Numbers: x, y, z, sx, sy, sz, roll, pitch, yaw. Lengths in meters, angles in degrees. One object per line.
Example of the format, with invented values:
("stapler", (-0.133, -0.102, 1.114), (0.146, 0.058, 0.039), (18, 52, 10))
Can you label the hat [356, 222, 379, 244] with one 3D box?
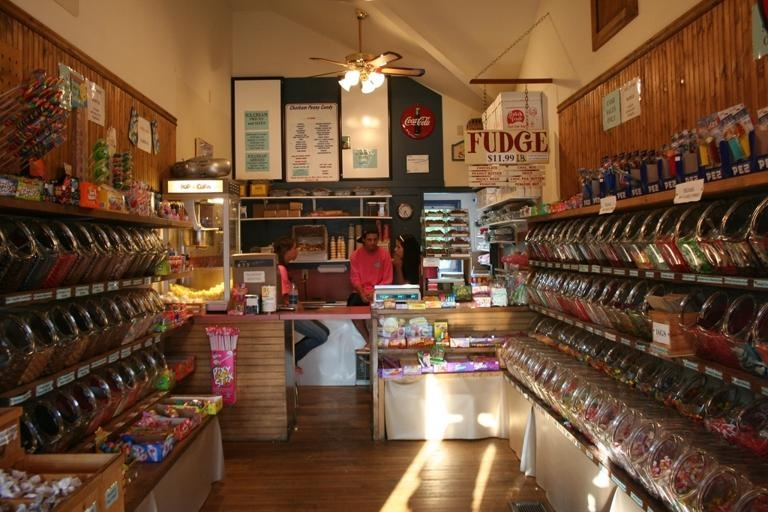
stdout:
("hat", (-0.200, -0.297, 7.266), (0.243, 0.199, 0.368), (0, -4, -12))

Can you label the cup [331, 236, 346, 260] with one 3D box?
("cup", (-0.694, -0.102, 8.234), (0.317, 0.474, 0.174), (1, -6, -7))

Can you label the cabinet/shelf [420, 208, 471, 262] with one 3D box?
("cabinet/shelf", (0.987, -0.351, 8.250), (0.727, 0.756, 0.258), (1, 10, 20))

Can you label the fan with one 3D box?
("fan", (-0.263, -2.816, 7.139), (1.408, 0.964, 1.462), (-2, -3, 1))

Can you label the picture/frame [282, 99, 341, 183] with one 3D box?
("picture/frame", (-1.125, -1.811, 8.320), (1.179, 1.671, 0.118), (0, -1, -4))

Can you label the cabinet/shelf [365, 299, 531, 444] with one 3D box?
("cabinet/shelf", (0.486, 1.271, 5.538), (1.506, 1.164, 0.840), (4, -21, -16))

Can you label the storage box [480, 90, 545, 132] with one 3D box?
("storage box", (1.358, -1.571, 5.879), (0.691, 0.451, 0.761), (3, 10, 27))

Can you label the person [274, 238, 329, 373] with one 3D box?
("person", (-1.060, 0.631, 6.272), (0.591, 1.607, 0.838), (1, 9, 16))

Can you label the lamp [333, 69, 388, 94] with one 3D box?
("lamp", (-0.246, -1.893, 5.870), (0.406, 0.194, 0.353), (-9, 12, -37))

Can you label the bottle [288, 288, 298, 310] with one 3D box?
("bottle", (-0.944, 0.441, 5.595), (0.072, 0.194, 0.184), (-2, 9, -6))

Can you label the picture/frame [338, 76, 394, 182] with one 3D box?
("picture/frame", (-0.309, -1.882, 8.356), (0.786, 1.501, 0.063), (-2, 25, 0))

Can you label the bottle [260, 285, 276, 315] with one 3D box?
("bottle", (-1.176, 0.433, 5.435), (0.157, 0.246, 0.191), (-1, 9, 1))
